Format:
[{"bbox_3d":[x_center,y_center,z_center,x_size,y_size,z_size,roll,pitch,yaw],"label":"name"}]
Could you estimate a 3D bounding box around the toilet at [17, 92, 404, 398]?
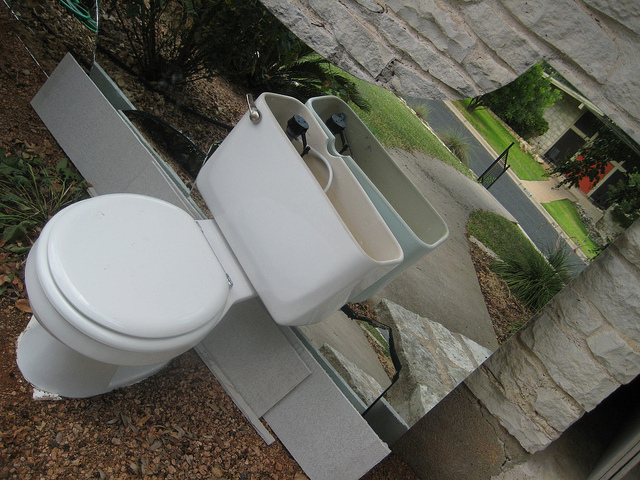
[{"bbox_3d":[-0.606,0.129,2.136,1.097,1.386,1.008,0,54,-49],"label":"toilet"}]
